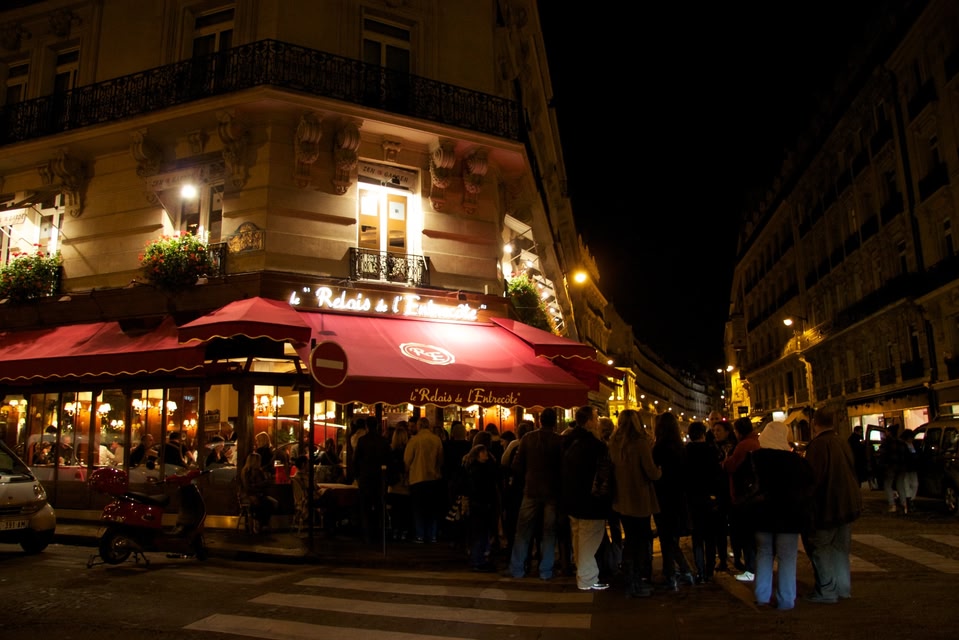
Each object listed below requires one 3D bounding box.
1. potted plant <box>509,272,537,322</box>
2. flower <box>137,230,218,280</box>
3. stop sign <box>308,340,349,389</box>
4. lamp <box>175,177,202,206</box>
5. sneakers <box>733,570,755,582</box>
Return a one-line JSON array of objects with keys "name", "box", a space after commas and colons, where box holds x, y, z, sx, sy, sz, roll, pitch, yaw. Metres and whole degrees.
[{"name": "potted plant", "box": [1.407, -0.667, 26.374, 0.884, 1.411, 0.739, -19, 13, -16]}, {"name": "flower", "box": [-7.823, -1.477, 20.712, 1.559, 0.967, 1.495, -8, -18, -20]}, {"name": "stop sign", "box": [-3.023, 0.860, 16.286, 0.747, 0.903, 0.328, 0, 0, -20]}, {"name": "lamp", "box": [-7.579, -3.362, 21.099, 0.682, 0.603, 0.301, 0, 0, 26]}, {"name": "sneakers", "box": [4.859, 4.729, 14.969, 0.394, 0.170, 0.182, -2, -9, 32]}]
